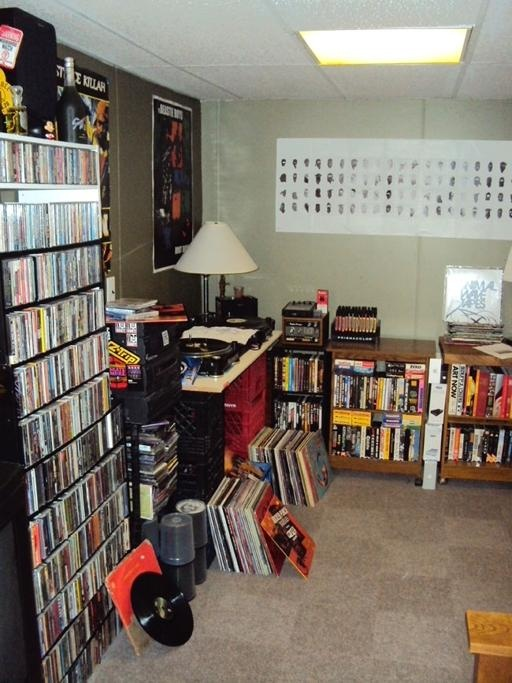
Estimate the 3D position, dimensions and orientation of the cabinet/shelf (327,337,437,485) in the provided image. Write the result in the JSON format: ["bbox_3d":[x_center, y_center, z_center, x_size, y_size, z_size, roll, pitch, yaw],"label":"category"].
[{"bbox_3d":[0.881,0.503,3.531,0.820,1.158,0.595,1,10,10],"label":"cabinet/shelf"}]

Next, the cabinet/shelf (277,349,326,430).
[{"bbox_3d":[0.418,0.278,4.168,0.444,0.890,0.647,1,5,12],"label":"cabinet/shelf"}]

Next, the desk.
[{"bbox_3d":[-0.146,0.349,3.151,0.660,1.181,0.749,3,5,-9],"label":"desk"}]

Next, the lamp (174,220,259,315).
[{"bbox_3d":[-0.213,-0.520,3.476,0.474,0.692,0.459,3,5,34],"label":"lamp"}]

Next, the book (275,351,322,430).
[{"bbox_3d":[0.334,0.366,4.168,0.435,0.830,0.616,1,5,10],"label":"book"}]

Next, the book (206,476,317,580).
[{"bbox_3d":[0.037,0.963,2.601,0.510,0.383,0.358,2,9,11],"label":"book"}]

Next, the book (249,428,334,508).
[{"bbox_3d":[0.212,0.801,3.180,0.281,0.699,0.883,-6,-9,14],"label":"book"}]

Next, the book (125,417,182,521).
[{"bbox_3d":[-0.429,0.558,2.257,0.118,0.390,0.273,2,5,28],"label":"book"}]
